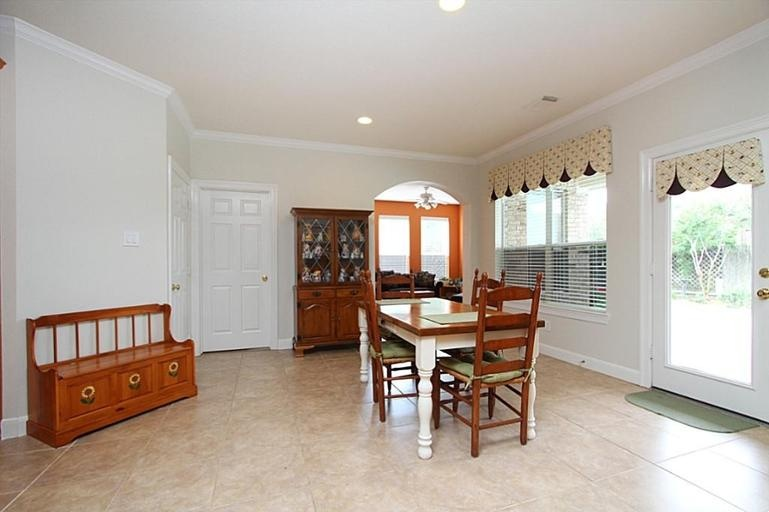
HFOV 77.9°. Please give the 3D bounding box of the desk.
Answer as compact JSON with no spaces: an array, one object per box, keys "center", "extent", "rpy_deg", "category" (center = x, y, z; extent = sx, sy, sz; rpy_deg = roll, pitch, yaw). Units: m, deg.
[{"center":[0.616,1.396,4.717],"extent":[1.230,1.096,2.242],"rpy_deg":[1,-3,-19],"category":"desk"}]
